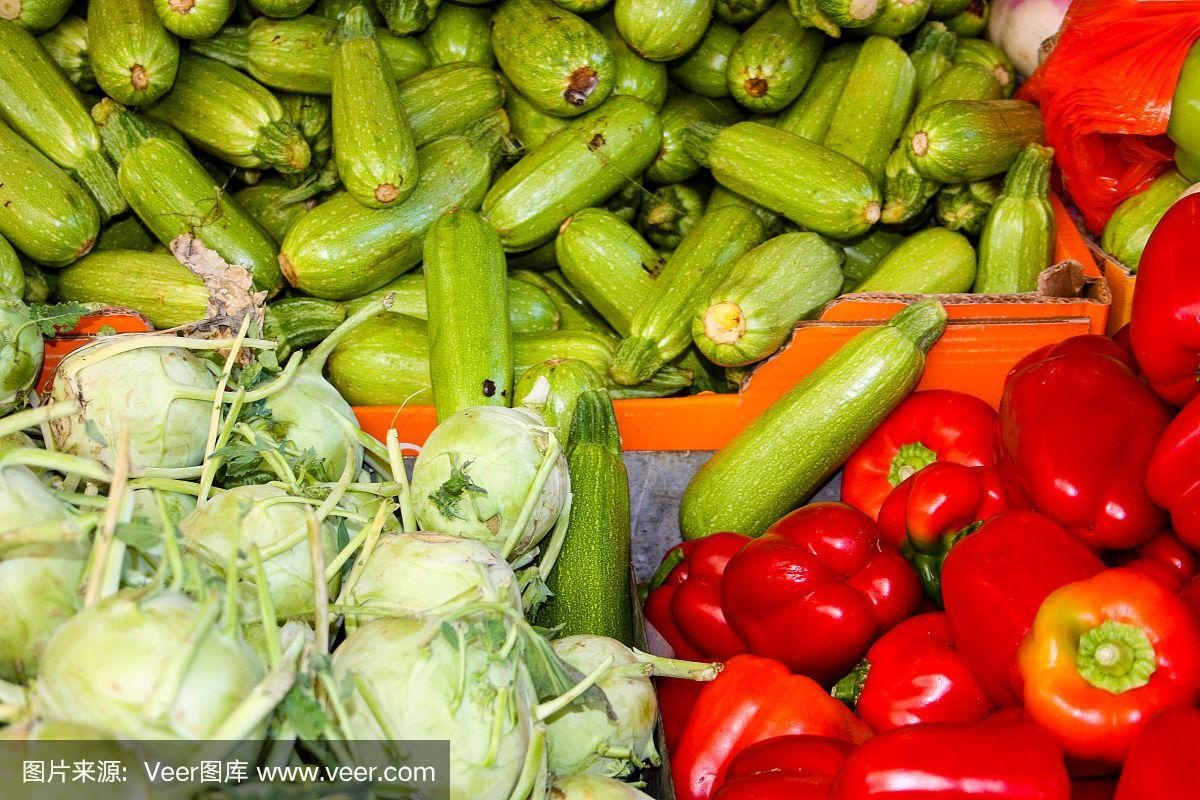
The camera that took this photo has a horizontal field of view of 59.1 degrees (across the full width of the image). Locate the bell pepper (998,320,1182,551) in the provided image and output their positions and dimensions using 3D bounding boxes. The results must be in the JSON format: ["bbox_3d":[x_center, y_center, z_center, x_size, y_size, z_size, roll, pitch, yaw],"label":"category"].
[{"bbox_3d":[1.253,0.106,2.806,0.374,0.509,0.263,9,-27,11],"label":"bell pepper"}]

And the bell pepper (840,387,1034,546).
[{"bbox_3d":[0.995,0.188,3.267,0.414,0.416,0.245,47,20,-18],"label":"bell pepper"}]

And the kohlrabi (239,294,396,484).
[{"bbox_3d":[-0.728,-0.019,2.737,0.307,0.575,0.252,18,-31,-21],"label":"kohlrabi"}]
